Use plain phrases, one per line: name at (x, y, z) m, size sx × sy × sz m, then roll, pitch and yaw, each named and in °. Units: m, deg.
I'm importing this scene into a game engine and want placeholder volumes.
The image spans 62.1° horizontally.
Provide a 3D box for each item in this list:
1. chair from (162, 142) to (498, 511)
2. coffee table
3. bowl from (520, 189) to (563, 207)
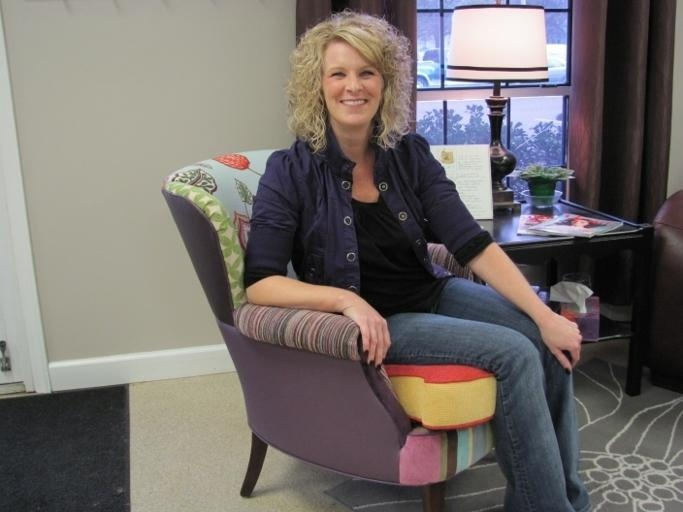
chair at (0.023, 0.142, 2.089) m, size 1.073 × 1.114 × 0.945 m, roll 4°, pitch 14°, yaw 21°
coffee table at (0.915, 0.133, 2.667) m, size 0.798 × 0.805 × 0.800 m, roll -2°, pitch 7°, yaw -14°
bowl at (0.905, -0.278, 2.573) m, size 0.105 × 0.040 × 0.108 m, roll -3°, pitch 16°, yaw 1°
